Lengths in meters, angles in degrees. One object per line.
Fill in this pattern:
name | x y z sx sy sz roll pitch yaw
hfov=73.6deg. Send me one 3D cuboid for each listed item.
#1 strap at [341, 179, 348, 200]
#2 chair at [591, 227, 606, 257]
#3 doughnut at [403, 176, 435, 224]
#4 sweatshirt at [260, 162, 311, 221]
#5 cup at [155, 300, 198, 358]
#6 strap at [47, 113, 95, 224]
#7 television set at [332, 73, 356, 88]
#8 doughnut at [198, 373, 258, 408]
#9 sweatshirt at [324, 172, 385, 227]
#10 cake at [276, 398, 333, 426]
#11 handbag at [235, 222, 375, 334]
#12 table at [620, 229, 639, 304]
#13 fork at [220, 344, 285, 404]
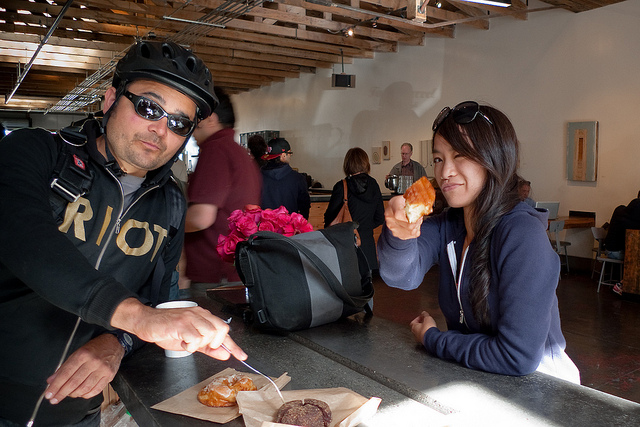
strap | 0.352 -0.332 5.990 0.061 0.196 0.145 -1 -1 -13
chair | 4.396 0.439 6.792 0.204 0.445 0.268 10 15 34
doughnut | 0.437 -0.057 1.894 0.049 0.178 0.182 19 44 -19
sweatshirt | -0.411 -0.268 5.336 0.646 0.730 0.435 -4 14 -21
cup | -0.598 0.516 1.920 0.232 0.186 0.247 1 -4 0
strap | -1.018 -0.186 1.751 0.137 0.349 0.267 0 3 -17
television set | 0.609 -3.343 10.761 0.566 0.299 0.386 0 12 -2
doughnut | -0.359 0.688 1.681 0.202 0.064 0.221 2 -7 -7
sweatshirt | 0.534 -0.169 6.118 0.858 0.826 0.470 0 13 -4
cake | -0.049 0.712 1.504 0.190 0.061 0.103 1 12 1
handbag | -0.037 0.324 2.280 0.764 0.566 0.431 -2 -2 -35
table | 4.397 0.776 6.061 0.300 0.893 0.955 -1 -6 37
fork | -0.269 0.650 1.707 0.377 0.057 0.043 37 31 13
